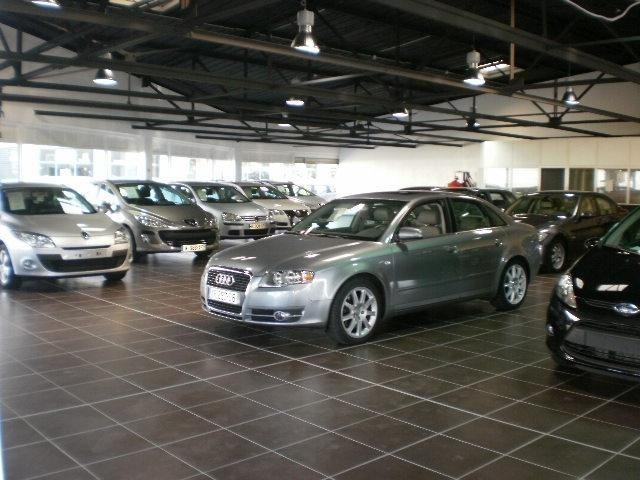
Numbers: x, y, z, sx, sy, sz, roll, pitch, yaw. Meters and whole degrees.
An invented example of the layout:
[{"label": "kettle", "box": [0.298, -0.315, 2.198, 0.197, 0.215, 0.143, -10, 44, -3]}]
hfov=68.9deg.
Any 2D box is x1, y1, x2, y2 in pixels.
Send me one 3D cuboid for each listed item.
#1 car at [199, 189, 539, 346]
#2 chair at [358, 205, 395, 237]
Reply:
[{"label": "car", "box": [0.761, 0.238, 5.901, 3.873, 1.701, 1.248, -4, 10, -31]}, {"label": "chair", "box": [0.716, -0.230, 5.777, 0.457, 0.361, 0.539, -1, -4, 37]}]
